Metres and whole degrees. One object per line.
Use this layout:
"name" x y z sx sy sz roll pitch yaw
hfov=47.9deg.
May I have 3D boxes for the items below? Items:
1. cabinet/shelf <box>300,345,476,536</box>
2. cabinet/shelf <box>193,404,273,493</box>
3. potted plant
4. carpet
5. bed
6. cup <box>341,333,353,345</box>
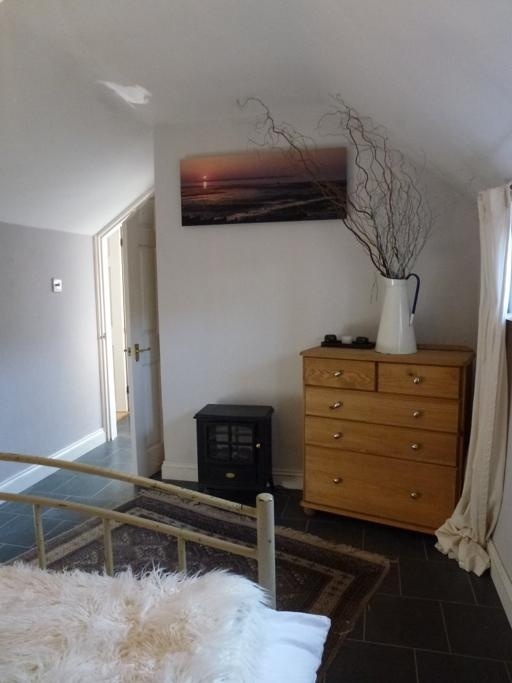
"cabinet/shelf" 0.618 0.448 2.619 0.846 0.965 0.425 3 6 29
"cabinet/shelf" -0.117 0.605 3.221 0.415 0.469 0.310 0 5 14
"potted plant" 0.443 -0.589 2.913 0.771 1.237 0.441 2 8 25
"carpet" 0.004 0.930 2.599 1.345 0.018 1.217 17 -5 -6
"bed" -0.209 0.503 1.398 0.814 0.377 0.407 4 9 36
"cup" 0.469 -0.016 2.984 0.044 0.043 0.060 6 9 26
